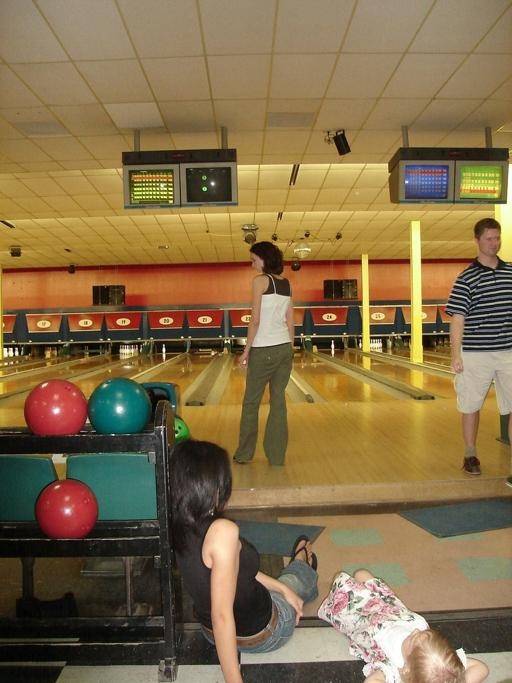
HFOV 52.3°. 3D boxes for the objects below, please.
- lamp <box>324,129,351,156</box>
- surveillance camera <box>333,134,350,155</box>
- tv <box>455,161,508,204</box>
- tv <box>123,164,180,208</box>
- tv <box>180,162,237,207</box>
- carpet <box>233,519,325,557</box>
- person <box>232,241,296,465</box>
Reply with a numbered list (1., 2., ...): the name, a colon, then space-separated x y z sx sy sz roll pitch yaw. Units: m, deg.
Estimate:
1. lamp: 0.703 -1.730 4.507 0.137 0.242 0.145 -31 28 -28
2. surveillance camera: 0.722 -1.682 4.431 0.117 0.130 0.249 -3 1 12
3. tv: 1.763 -1.246 4.042 0.423 0.332 0.143 1 4 2
4. tv: -0.814 -1.223 4.053 0.370 0.249 0.057 1 1 3
5. tv: -0.370 -1.220 4.000 0.361 0.244 0.047 0 1 3
6. carpet: 0.077 0.839 2.252 0.352 0.047 0.205 1 7 19
7. person: 0.047 0.078 2.933 0.351 0.945 0.360 -4 1 -18
